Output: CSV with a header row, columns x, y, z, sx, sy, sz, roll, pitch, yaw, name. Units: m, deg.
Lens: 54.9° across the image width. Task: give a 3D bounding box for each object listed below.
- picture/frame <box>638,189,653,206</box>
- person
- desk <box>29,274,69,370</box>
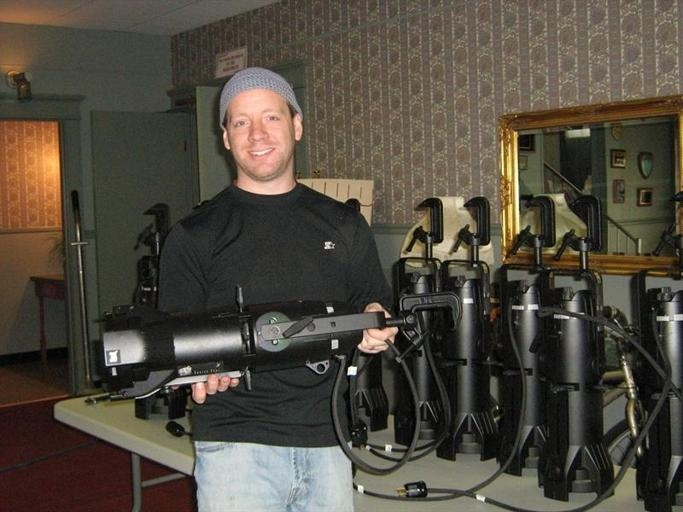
x,y,z,sx,sy,sz,roll,pitch,yaw,name
1.616,-0.314,3.502,0.083,0.110,0.012,2,4,45,picture/frame
-0.189,0.116,1.985,0.710,1.406,0.345,-2,4,-10,person
-3.123,0.691,7.040,0.321,0.999,0.924,-3,4,-26,desk
